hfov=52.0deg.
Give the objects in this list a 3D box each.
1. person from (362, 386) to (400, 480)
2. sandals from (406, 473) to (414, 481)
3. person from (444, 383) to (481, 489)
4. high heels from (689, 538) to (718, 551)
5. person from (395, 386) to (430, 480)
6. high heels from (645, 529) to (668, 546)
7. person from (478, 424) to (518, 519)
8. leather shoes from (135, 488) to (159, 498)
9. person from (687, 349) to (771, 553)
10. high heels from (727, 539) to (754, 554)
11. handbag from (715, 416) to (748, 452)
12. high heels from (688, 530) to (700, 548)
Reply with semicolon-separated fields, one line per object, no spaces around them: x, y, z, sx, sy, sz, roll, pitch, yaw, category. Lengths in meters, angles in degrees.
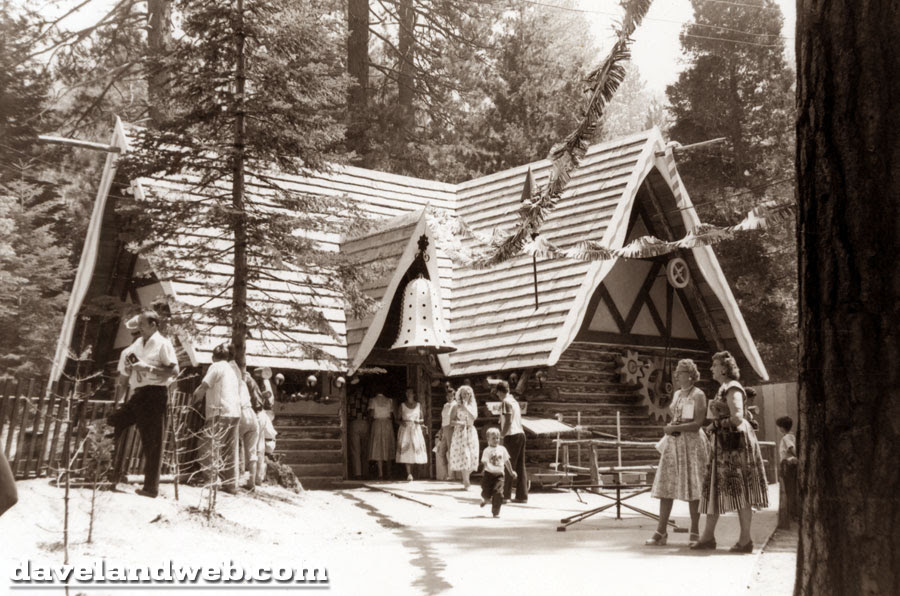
-1.599;3.266;21.740;0.646;1.943;0.860;2;-13;-5;person
-0.936;4.107;21.071;0.199;0.131;0.206;0;0;17;sandals
0.234;2.993;19.632;0.679;2.140;1.378;1;-13;0;person
3.284;3.192;11.922;0.366;0.154;0.138;3;-5;4;high heels
-0.873;3.141;21.275;0.771;2.111;1.046;1;-13;-1;person
2.779;3.235;12.373;0.296;0.165;0.147;6;-10;-23;high heels
0.790;2.976;15.794;0.537;1.523;1.037;0;-13;3;person
-4.421;2.816;13.350;0.347;0.129;0.286;1;-14;-1;leather shoes
3.651;1.984;12.123;0.973;2.603;0.891;-2;-12;23;person
3.728;3.180;11.772;0.361;0.167;0.125;3;-9;5;high heels
3.616;1.753;11.818;0.315;0.461;0.214;-19;-14;15;handbag
3.217;3.178;12.120;0.090;0.113;0.278;1;0;11;high heels
